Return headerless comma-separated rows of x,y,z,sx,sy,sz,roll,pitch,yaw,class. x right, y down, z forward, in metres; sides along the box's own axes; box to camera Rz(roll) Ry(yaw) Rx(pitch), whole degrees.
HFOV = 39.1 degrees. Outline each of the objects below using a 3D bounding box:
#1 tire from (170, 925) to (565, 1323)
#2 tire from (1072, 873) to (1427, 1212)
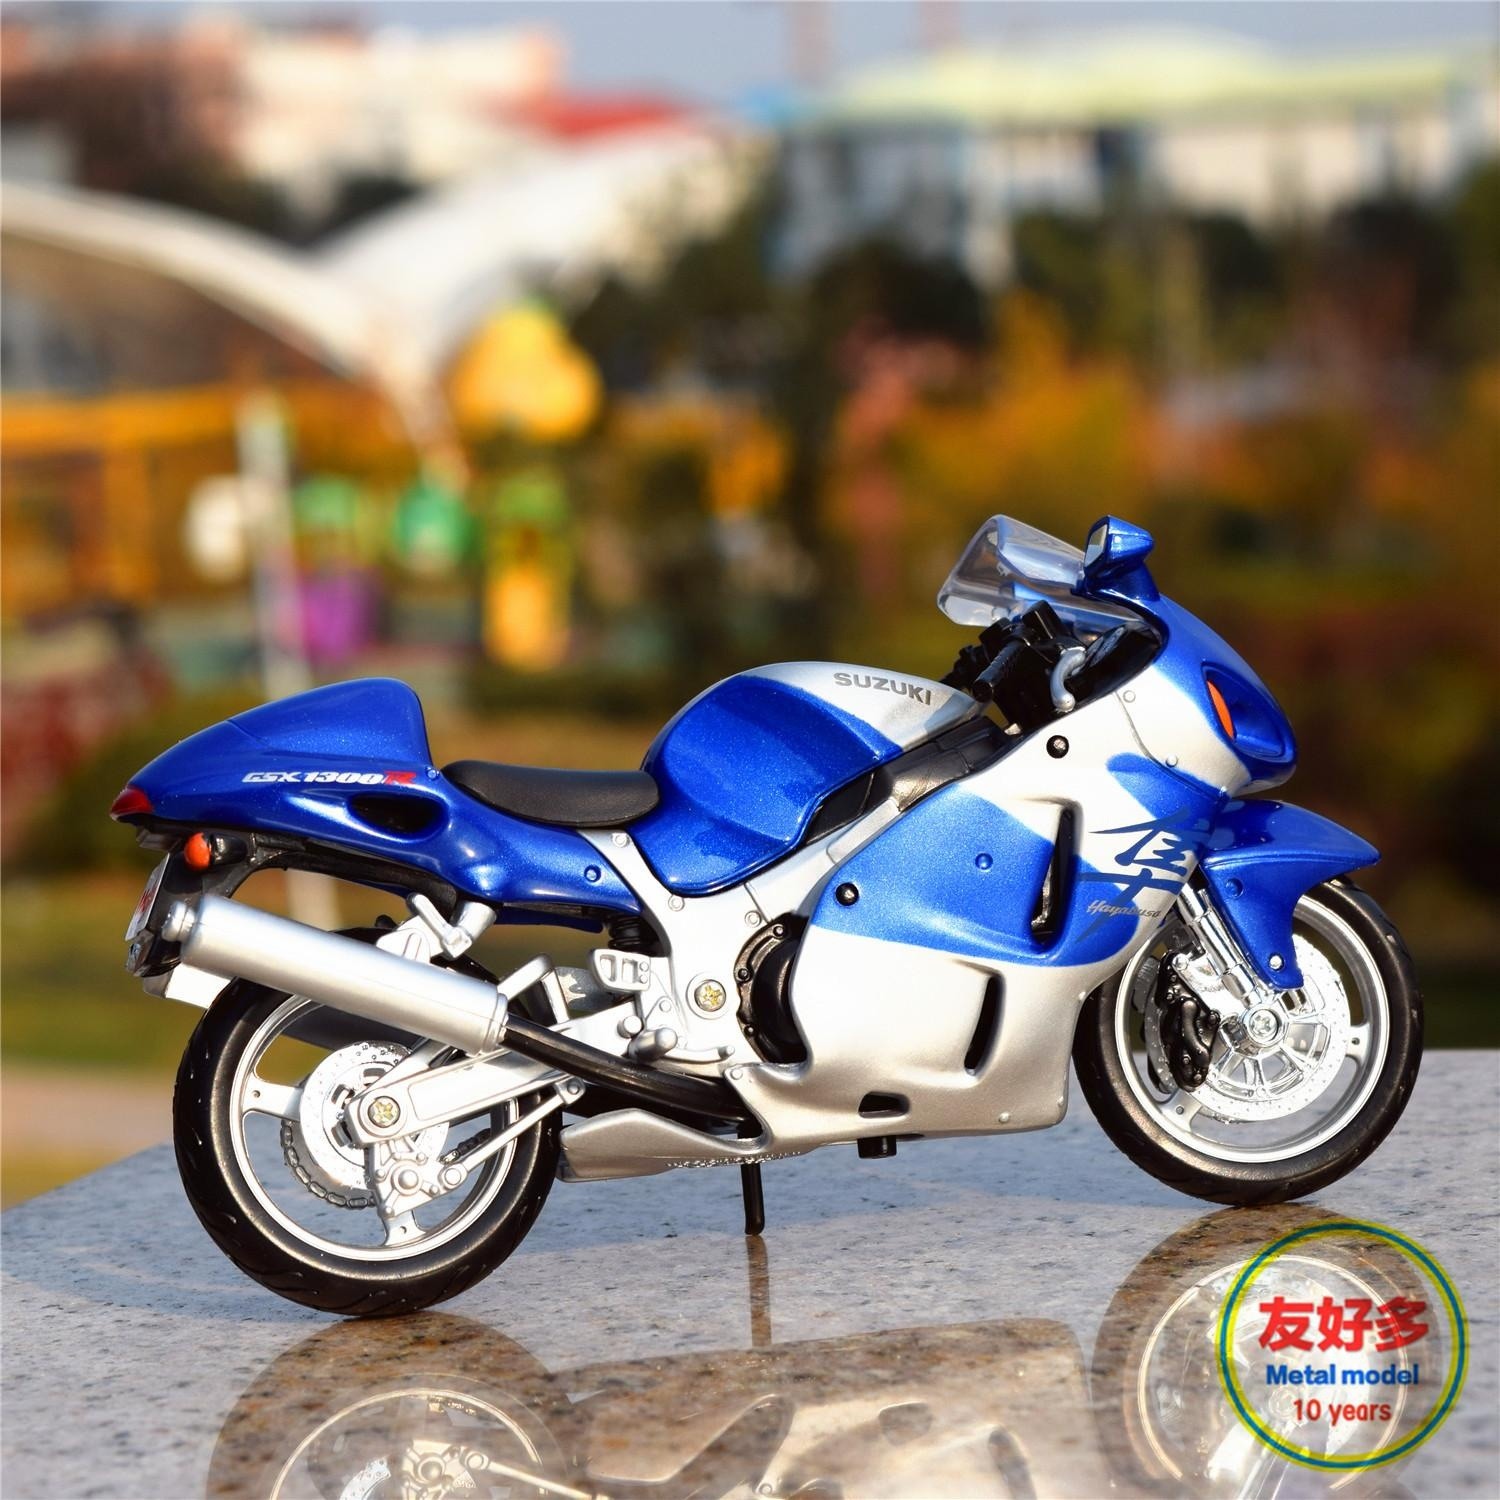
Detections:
-0.732,0.725,4.047,1.014,0.778,0.183,6,-9,-16,tire
1.047,0.625,4.485,1.002,0.734,0.197,-3,-4,-3,tire
